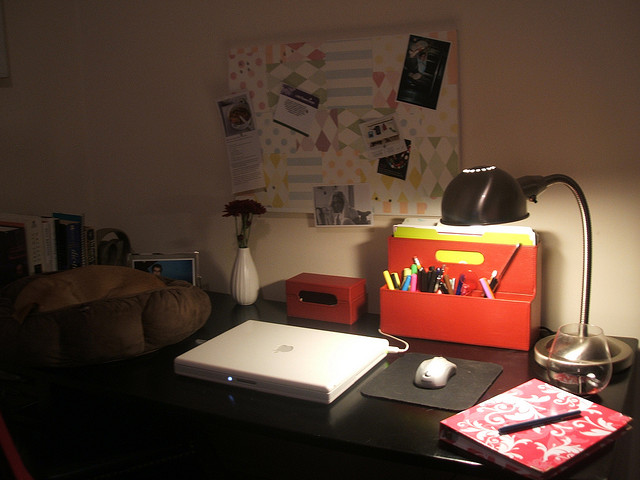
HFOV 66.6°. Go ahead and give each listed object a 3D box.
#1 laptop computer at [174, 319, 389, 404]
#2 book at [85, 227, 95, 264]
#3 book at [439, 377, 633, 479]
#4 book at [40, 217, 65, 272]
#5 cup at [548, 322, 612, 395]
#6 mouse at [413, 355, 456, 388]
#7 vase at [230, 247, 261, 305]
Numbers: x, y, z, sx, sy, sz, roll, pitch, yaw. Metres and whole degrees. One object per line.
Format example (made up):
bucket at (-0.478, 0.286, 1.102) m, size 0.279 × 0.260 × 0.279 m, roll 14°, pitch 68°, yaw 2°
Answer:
laptop computer at (-0.103, 0.331, 1.405) m, size 0.516 × 0.050 × 0.422 m, roll 4°, pitch 8°, yaw 32°
book at (-0.929, 0.022, 1.985) m, size 0.030 × 0.116 × 0.108 m, roll -1°, pitch 7°, yaw -14°
book at (0.464, 0.406, 1.053) m, size 0.289 × 0.035 × 0.220 m, roll -11°, pitch 15°, yaw -37°
book at (-1.064, 0.020, 1.942) m, size 0.050 × 0.199 × 0.199 m, roll -5°, pitch 9°, yaw -20°
cup at (0.659, 0.304, 1.237) m, size 0.162 × 0.171 × 0.184 m, roll 3°, pitch 6°, yaw 44°
mouse at (0.302, 0.332, 1.269) m, size 0.088 × 0.054 × 0.153 m, roll 0°, pitch 9°, yaw 34°
vase at (-0.276, 0.138, 1.800) m, size 0.103 × 0.216 × 0.046 m, roll -3°, pitch 10°, yaw -12°
